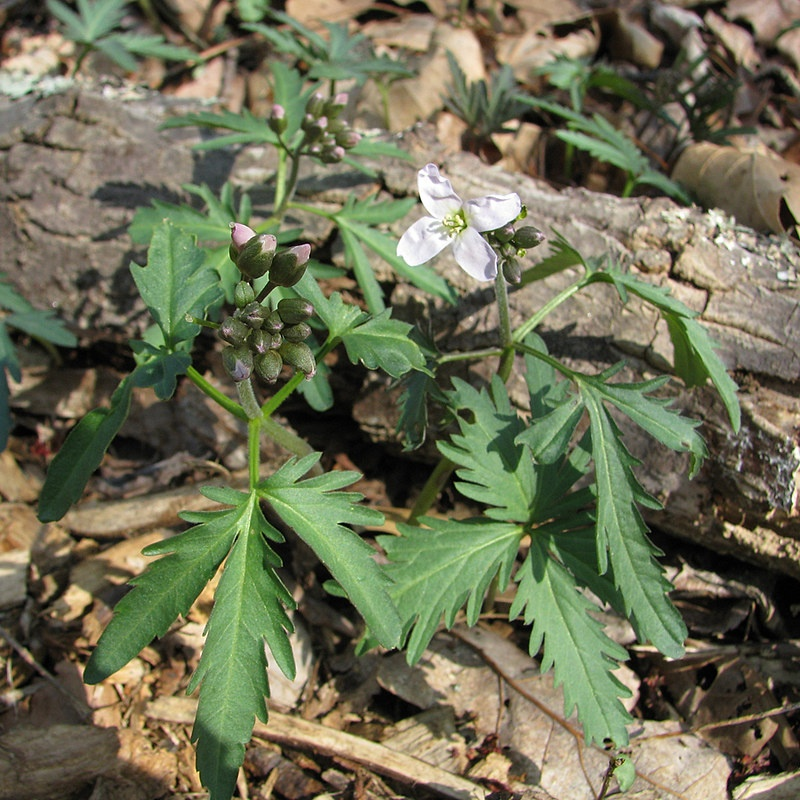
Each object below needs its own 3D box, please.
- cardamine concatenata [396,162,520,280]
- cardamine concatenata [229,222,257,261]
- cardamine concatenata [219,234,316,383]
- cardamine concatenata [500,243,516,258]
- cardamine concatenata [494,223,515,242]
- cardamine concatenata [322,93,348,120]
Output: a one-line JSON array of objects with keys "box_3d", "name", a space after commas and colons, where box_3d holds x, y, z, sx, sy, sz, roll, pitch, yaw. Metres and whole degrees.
[{"box_3d": [0.254, -0.776, 3.741, 0.490, 0.363, 0.401, 17, 42, 7], "name": "cardamine concatenata"}, {"box_3d": [-0.716, -0.706, 3.713, 0.114, 0.171, 0.081, 23, 3, -30], "name": "cardamine concatenata"}, {"box_3d": [-0.578, -0.391, 3.729, 0.420, 0.639, 0.595, 2, 42, -11], "name": "cardamine concatenata"}, {"box_3d": [0.502, -0.687, 3.890, 0.059, 0.040, 0.063, -8, 73, -18], "name": "cardamine concatenata"}, {"box_3d": [0.476, -0.761, 3.817, 0.045, 0.070, 0.048, -25, 77, -20], "name": "cardamine concatenata"}, {"box_3d": [-0.356, -1.600, 4.562, 0.120, 0.116, 0.206, 5, 41, -7], "name": "cardamine concatenata"}]
